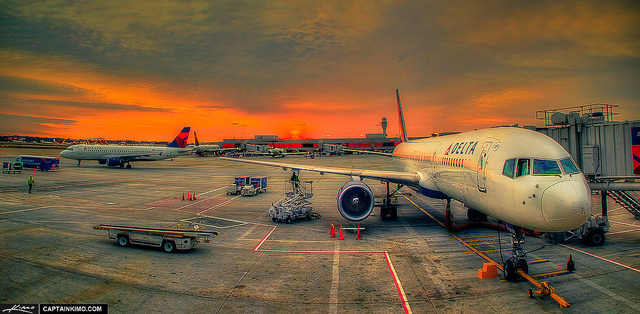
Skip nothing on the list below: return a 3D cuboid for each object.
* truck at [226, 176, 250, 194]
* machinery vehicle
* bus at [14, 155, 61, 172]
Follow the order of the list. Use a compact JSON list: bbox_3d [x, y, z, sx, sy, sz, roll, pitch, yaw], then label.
[{"bbox_3d":[-11.945,4.112,58.904,1.994,1.770,3.671,2,4,23],"label":"truck"},{"bbox_3d":[-2.710,5.628,47.435,6.308,3.297,5.546,0,2,-23],"label":"machinery vehicle"},{"bbox_3d":[-55.613,1.228,78.781,11.216,2.322,2.820,2,4,9],"label":"bus"}]
